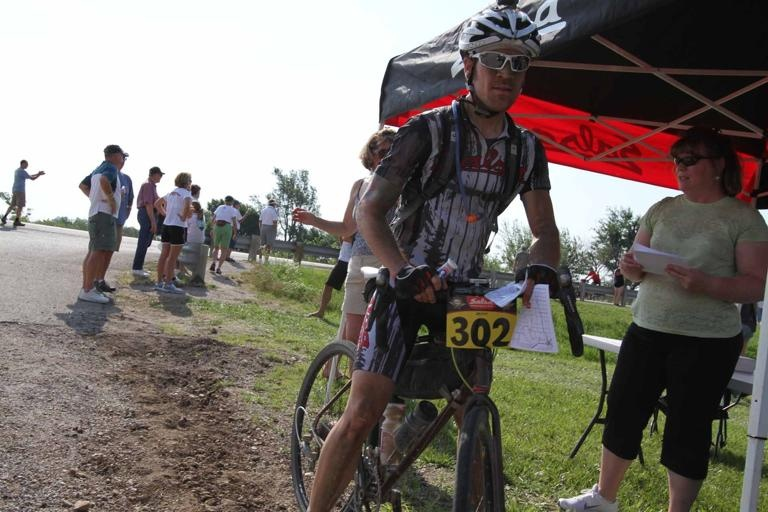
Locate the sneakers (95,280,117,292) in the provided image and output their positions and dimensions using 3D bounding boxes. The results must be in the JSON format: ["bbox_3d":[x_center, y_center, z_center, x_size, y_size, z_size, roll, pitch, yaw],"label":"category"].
[{"bbox_3d":[-5.107,0.558,9.632,0.341,0.265,0.119,-1,9,-29],"label":"sneakers"}]

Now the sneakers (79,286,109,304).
[{"bbox_3d":[-4.859,0.686,8.858,0.560,0.292,0.214,5,12,-25],"label":"sneakers"}]

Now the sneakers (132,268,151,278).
[{"bbox_3d":[-5.604,0.401,11.982,0.463,0.226,0.185,5,7,-2],"label":"sneakers"}]

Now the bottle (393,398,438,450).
[{"bbox_3d":[0.217,1.207,3.705,0.205,0.390,0.146,10,26,-27],"label":"bottle"}]

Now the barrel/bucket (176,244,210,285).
[{"bbox_3d":[-4.705,0.128,12.779,0.770,0.854,0.338,8,-4,34],"label":"barrel/bucket"}]

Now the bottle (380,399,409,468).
[{"bbox_3d":[0.074,1.419,4.509,0.169,0.448,0.574,-1,3,-11],"label":"bottle"}]

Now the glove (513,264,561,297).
[{"bbox_3d":[0.957,0.117,3.379,0.262,0.133,0.229,2,3,5],"label":"glove"}]

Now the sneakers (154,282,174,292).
[{"bbox_3d":[-4.533,0.656,10.937,0.479,0.257,0.193,4,4,-30],"label":"sneakers"}]

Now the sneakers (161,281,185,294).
[{"bbox_3d":[-4.433,0.663,10.981,0.457,0.246,0.203,3,5,-34],"label":"sneakers"}]

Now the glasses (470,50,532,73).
[{"bbox_3d":[0.747,-1.270,3.399,0.386,0.130,0.105,10,10,7],"label":"glasses"}]

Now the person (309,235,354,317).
[{"bbox_3d":[-1.627,0.531,14.740,0.664,0.861,2.531,19,-42,-2],"label":"person"}]
